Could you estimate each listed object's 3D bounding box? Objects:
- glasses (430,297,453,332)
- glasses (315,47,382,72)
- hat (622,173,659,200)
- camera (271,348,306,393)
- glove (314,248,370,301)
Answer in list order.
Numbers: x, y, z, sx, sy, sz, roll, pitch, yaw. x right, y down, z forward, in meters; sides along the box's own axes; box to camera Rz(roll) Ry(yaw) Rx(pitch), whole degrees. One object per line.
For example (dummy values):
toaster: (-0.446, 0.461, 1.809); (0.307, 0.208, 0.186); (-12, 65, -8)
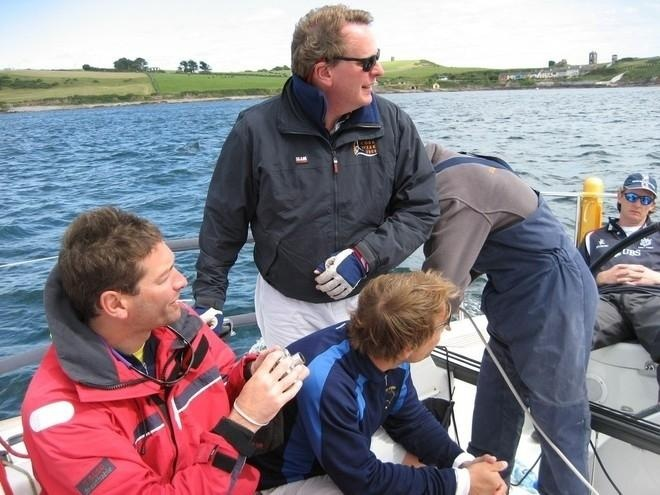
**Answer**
glasses: (0.447, 0.274, 2.265); (0.135, 0.038, 0.124); (7, 21, 11)
glasses: (0.125, -0.835, 2.457); (0.219, 0.091, 0.078); (-11, 22, -30)
hat: (2.397, -0.504, 4.282); (0.190, 0.138, 0.253); (19, 0, 23)
camera: (-0.145, 0.480, 2.113); (0.111, 0.082, 0.188); (-20, -7, -43)
glove: (0.047, 0.109, 2.507); (0.250, 0.184, 0.113); (-40, 11, -5)
